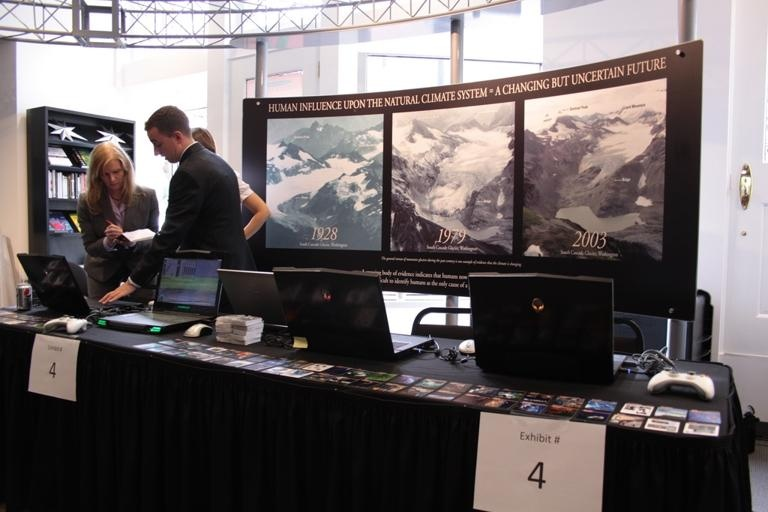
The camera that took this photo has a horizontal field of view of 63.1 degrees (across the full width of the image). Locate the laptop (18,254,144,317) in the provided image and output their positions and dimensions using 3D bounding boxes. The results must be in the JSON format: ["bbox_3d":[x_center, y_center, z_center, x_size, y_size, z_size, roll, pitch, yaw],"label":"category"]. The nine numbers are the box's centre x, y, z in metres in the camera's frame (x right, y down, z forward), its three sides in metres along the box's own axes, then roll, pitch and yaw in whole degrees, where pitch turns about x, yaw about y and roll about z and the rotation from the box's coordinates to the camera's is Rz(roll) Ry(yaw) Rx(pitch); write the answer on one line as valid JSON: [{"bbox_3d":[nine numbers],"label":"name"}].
[{"bbox_3d":[-2.011,0.107,4.202,0.568,0.342,0.504,2,0,32],"label":"laptop"}]

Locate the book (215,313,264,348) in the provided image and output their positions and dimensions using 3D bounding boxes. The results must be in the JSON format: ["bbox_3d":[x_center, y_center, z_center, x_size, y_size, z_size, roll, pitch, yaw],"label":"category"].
[{"bbox_3d":[-0.840,0.404,3.672,0.236,0.118,0.170,5,5,29],"label":"book"}]

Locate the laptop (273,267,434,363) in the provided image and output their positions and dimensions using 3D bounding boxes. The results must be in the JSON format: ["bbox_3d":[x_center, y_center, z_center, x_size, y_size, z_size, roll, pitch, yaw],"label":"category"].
[{"bbox_3d":[-0.181,0.232,3.468,0.639,0.450,0.550,1,4,33],"label":"laptop"}]

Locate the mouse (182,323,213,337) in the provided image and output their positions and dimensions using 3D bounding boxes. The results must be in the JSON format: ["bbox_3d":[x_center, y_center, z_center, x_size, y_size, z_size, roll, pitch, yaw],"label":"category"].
[{"bbox_3d":[-1.097,0.435,3.734,0.079,0.043,0.128,5,5,26],"label":"mouse"}]

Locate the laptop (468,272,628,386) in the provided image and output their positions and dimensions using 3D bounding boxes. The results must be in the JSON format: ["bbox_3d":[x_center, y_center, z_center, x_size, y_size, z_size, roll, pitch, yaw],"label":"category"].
[{"bbox_3d":[0.776,0.351,3.093,0.693,0.526,0.579,0,1,20],"label":"laptop"}]

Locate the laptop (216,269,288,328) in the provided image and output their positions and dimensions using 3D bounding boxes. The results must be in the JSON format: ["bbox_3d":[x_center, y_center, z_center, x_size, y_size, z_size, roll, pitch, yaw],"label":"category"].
[{"bbox_3d":[-0.731,0.222,3.806,0.482,0.306,0.332,-1,13,26],"label":"laptop"}]

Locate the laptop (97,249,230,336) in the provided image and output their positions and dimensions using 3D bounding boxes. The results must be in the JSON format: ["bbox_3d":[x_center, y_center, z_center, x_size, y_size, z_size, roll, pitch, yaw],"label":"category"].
[{"bbox_3d":[-1.339,0.243,3.870,0.593,0.452,0.594,2,1,31],"label":"laptop"}]
